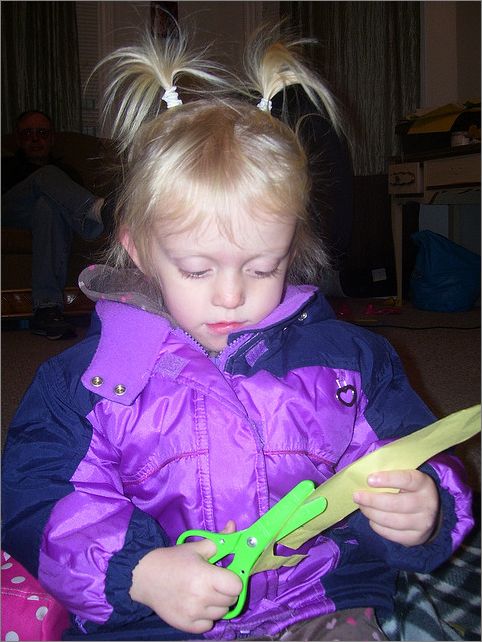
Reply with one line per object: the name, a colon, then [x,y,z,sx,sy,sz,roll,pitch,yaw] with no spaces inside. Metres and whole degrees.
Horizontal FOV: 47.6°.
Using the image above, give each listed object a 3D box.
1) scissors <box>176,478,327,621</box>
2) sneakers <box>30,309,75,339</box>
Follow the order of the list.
scissors: [-0.002,0.203,0.503,0.021,0.155,0.088,4,46,-47]
sneakers: [-0.792,0.014,2.332,0.094,0.110,0.243,-6,7,-42]
